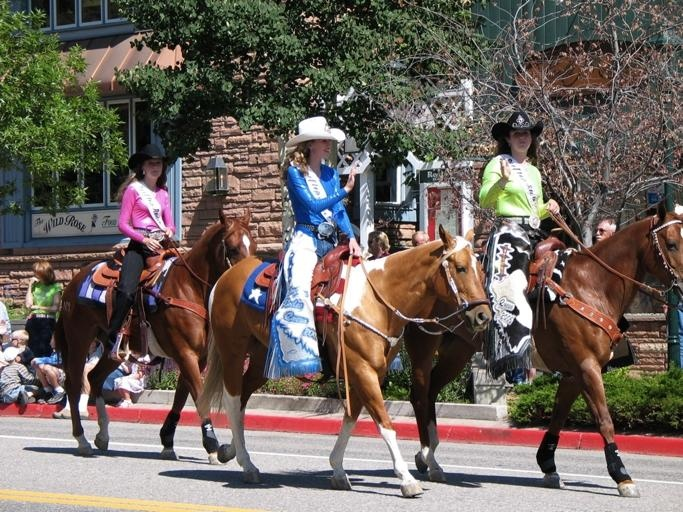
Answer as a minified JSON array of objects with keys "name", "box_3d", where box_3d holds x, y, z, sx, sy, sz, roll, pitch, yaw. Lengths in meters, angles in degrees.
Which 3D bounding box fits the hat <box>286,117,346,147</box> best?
[{"name":"hat","box_3d":[-0.357,-1.732,17.819,0.555,0.222,0.519,-5,-2,23]}]

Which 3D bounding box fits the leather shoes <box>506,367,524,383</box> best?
[{"name":"leather shoes","box_3d":[2.483,1.718,18.253,0.268,0.176,0.258,0,-2,-1]}]

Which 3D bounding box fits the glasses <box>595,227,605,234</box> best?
[{"name":"glasses","box_3d":[4.463,-0.438,22.010,0.127,0.049,0.112,29,-25,-34]}]

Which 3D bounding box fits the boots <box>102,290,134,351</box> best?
[{"name":"boots","box_3d":[-3.480,0.965,19.793,0.343,1.063,0.275,23,15,29]}]

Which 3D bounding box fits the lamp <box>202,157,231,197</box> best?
[{"name":"lamp","box_3d":[-3.126,-2.012,32.071,0.596,0.978,0.445,-1,4,-2]}]

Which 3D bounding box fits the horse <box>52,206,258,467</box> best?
[{"name":"horse","box_3d":[-2.856,1.390,20.181,4.857,4.002,1.302,-1,-5,42]}]
